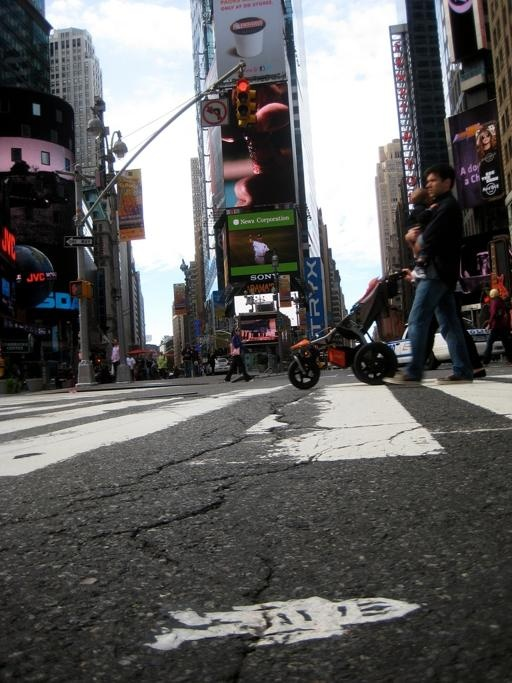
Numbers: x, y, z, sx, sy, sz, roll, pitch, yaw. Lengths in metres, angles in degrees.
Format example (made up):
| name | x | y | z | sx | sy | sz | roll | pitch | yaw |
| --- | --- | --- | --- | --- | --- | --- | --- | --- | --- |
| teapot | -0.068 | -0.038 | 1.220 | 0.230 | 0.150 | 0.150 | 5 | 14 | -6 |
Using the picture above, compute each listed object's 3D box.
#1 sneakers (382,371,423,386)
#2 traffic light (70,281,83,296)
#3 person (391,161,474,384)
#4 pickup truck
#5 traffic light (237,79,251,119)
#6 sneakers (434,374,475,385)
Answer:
| name | x | y | z | sx | sy | sz | roll | pitch | yaw |
| --- | --- | --- | --- | --- | --- | --- | --- | --- | --- |
| sneakers | 1.789 | 0.455 | 7.255 | 0.426 | 0.165 | 0.156 | 3 | -2 | 28 |
| traffic light | -6.887 | -2.031 | 22.374 | 0.387 | 0.599 | 0.563 | -7 | 0 | -22 |
| person | 2.021 | -0.697 | 6.682 | 0.710 | 2.415 | 0.670 | -7 | 0 | 12 |
| pickup truck | 3.560 | 0.005 | 11.265 | 1.260 | 0.943 | 2.816 | -3 | 7 | -6 |
| traffic light | -0.306 | -5.727 | 13.757 | 0.327 | 0.879 | 0.280 | -7 | 0 | -2 |
| sneakers | 2.348 | 0.460 | 6.965 | 0.407 | 0.145 | 0.160 | 1 | -5 | 13 |
